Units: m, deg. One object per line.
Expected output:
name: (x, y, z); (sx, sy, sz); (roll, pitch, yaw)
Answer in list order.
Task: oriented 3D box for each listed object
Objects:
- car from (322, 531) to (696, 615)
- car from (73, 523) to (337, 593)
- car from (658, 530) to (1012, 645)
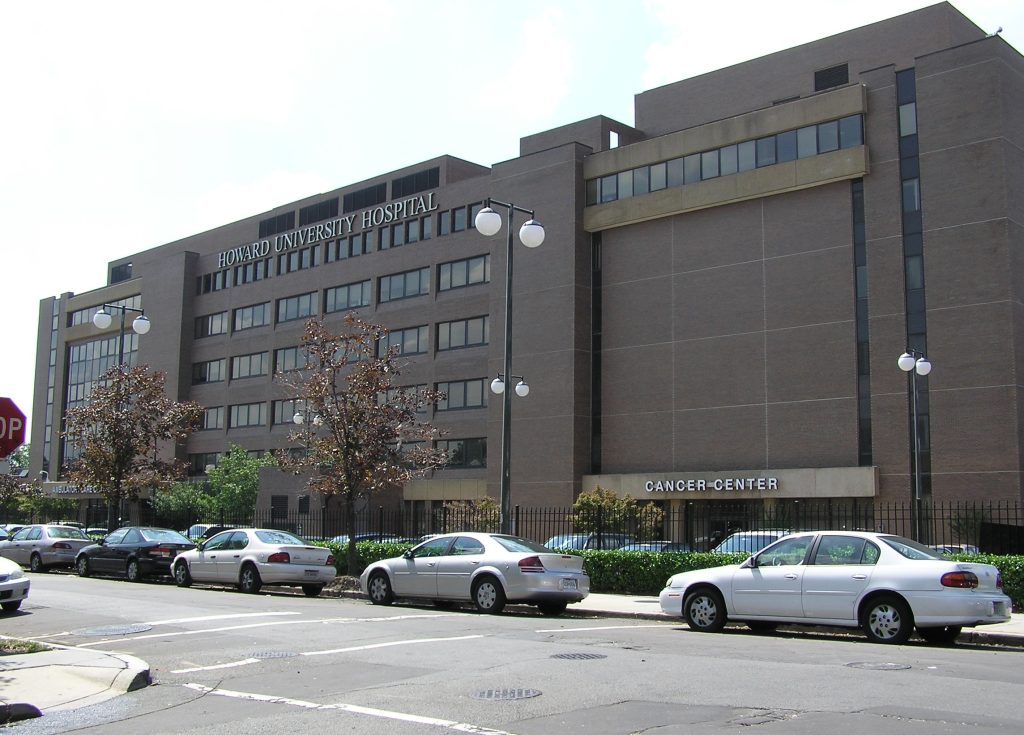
car: (-0.947, 4.515, 19.660); (4.706, 1.696, 1.038); (-8, -16, 30)
car: (-6.987, 5.190, 24.007); (4.507, 1.681, 1.146); (-8, -16, 30)
car: (5.512, 3.778, 15.400); (5.000, 1.848, 0.680); (-10, -17, 36)
